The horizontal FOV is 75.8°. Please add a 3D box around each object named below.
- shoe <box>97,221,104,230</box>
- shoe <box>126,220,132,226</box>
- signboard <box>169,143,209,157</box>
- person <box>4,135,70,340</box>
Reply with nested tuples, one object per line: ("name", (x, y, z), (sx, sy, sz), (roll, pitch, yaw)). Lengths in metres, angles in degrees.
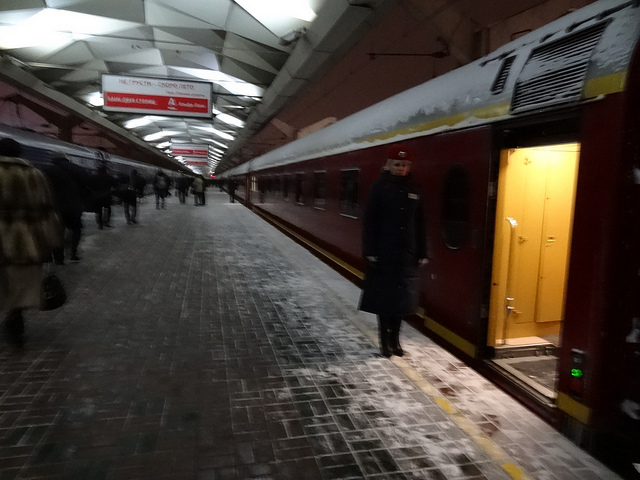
("shoe", (-6.277, -0.437, 11.745), (0.126, 0.245, 0.426), (-5, 14, -29))
("shoe", (-5.995, -0.544, 12.910), (0.160, 0.176, 0.438), (-4, 13, -25))
("signboard", (-10.244, -7.018, 32.095), (2.564, 0.921, 3.932), (-3, 13, -20))
("person", (-3.066, -0.002, 4.329), (0.614, 2.068, 0.532), (-6, 14, -31))
